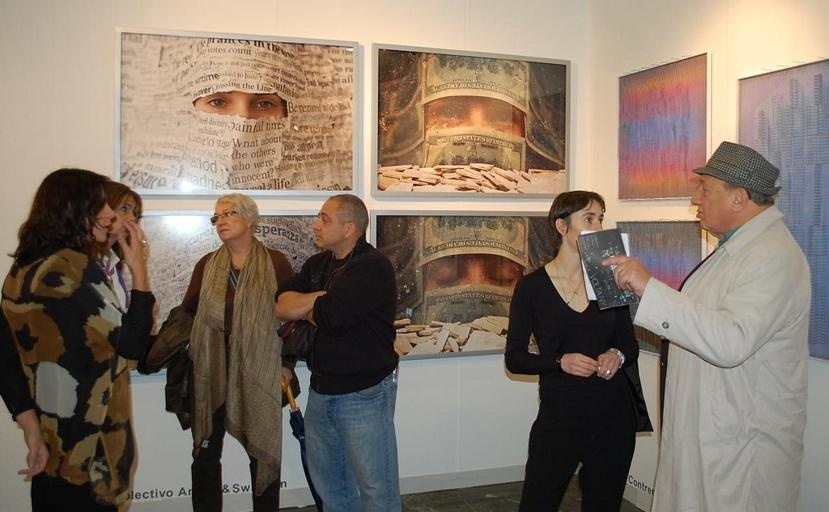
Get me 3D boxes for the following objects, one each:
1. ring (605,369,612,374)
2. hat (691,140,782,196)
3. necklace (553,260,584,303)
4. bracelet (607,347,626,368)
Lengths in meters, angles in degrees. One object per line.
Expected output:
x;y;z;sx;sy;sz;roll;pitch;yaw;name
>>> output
1.092;0.646;3.318;0.020;0.027;0.007;6;-6;3;ring
1.807;-0.489;3.240;0.503;0.177;0.376;27;22;25;hat
0.910;0.160;3.480;0.250;0.222;0.062;16;-28;1;necklace
1.140;0.574;3.375;0.109;0.069;0.097;13;26;-39;bracelet
